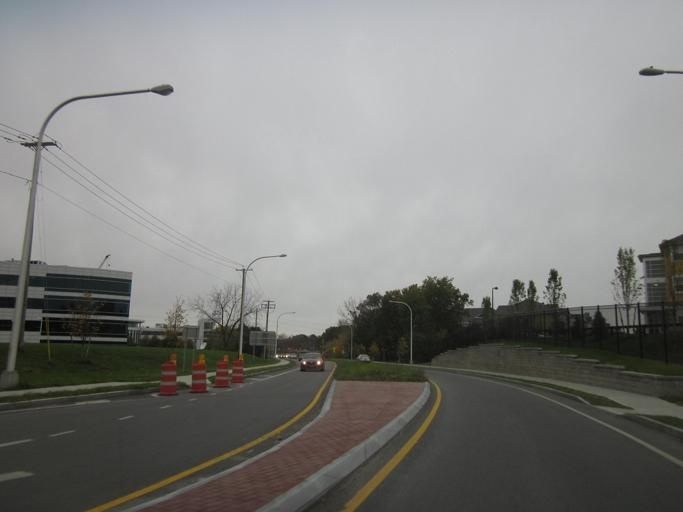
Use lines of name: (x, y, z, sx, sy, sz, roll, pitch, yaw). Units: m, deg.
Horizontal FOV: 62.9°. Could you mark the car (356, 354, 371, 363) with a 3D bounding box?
car: (3.155, 14.398, 78.339, 1.381, 1.299, 3.638, 1, -21, -5)
